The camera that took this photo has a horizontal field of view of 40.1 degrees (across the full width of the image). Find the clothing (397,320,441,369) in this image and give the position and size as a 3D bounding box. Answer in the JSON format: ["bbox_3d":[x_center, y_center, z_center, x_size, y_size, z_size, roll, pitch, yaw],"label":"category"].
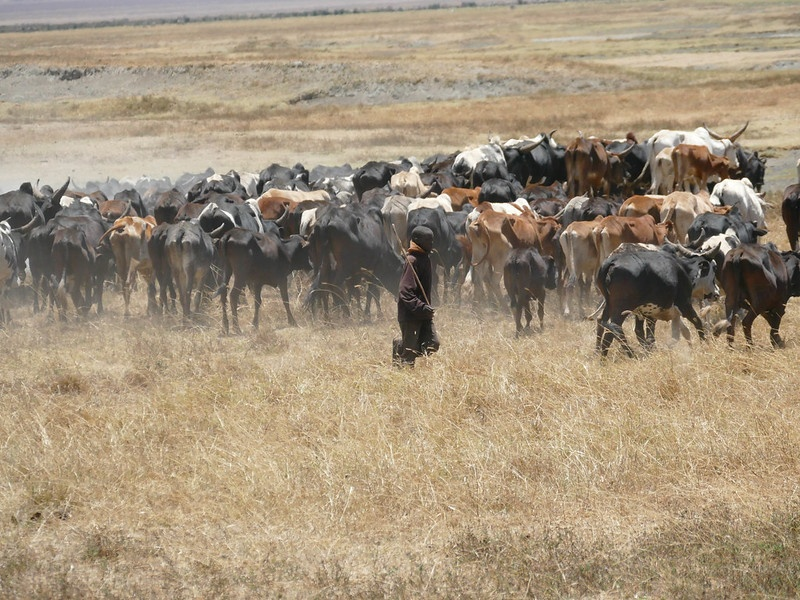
[{"bbox_3d":[0.297,0.743,17.855,0.492,0.980,0.514,-15,20,-42],"label":"clothing"}]
